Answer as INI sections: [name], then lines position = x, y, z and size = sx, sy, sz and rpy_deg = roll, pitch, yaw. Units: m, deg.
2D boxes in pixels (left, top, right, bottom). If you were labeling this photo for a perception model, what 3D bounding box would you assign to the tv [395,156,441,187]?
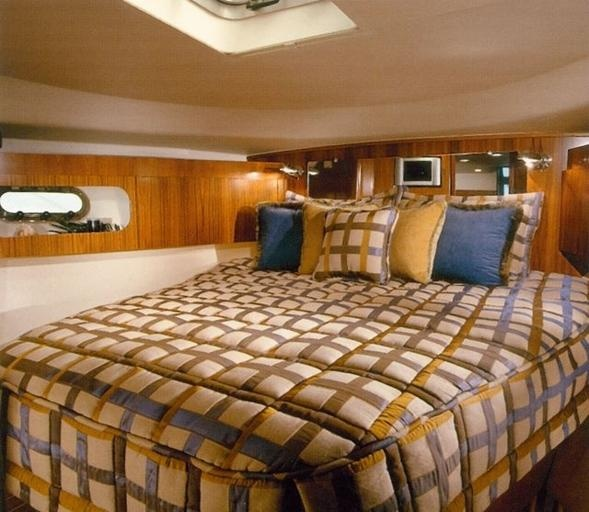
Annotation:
[tv]
position = 0.925, -0.605, 3.387
size = 0.380, 0.198, 0.231
rpy_deg = 6, 4, 23
